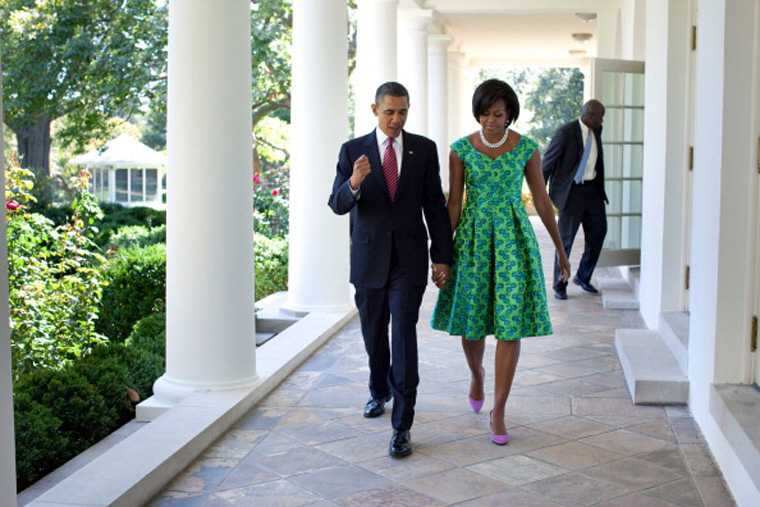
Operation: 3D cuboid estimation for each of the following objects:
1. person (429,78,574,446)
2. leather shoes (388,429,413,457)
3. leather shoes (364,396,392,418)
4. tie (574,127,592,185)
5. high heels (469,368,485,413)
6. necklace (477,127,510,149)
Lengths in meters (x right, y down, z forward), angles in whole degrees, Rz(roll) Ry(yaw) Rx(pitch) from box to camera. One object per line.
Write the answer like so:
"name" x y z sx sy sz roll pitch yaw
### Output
"person" 0.809 0.046 4.205 0.868 2.513 0.616 1 9 12
"leather shoes" 0.141 1.270 4.000 0.160 0.158 0.166 -1 9 0
"leather shoes" -0.028 1.204 4.628 0.096 0.102 0.261 -1 -3 20
"tie" 2.821 -1.346 8.075 0.182 0.819 0.087 15 -21 17
"high heels" 0.760 1.053 4.572 0.123 0.360 0.116 1 19 14
"necklace" 0.801 -0.807 4.111 0.221 0.134 0.122 1 9 10
